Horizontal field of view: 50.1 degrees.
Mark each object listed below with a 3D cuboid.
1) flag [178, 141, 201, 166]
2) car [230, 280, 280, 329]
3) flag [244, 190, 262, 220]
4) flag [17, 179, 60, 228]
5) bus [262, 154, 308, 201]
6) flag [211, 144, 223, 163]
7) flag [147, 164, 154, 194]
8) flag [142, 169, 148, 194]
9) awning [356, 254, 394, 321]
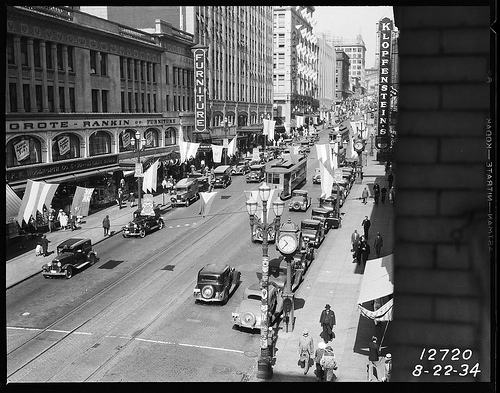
[{"bbox_3d":[-7.152,-4.981,61.709,3.131,3.541,0.475,2,-3,-21],"label":"flag"},{"bbox_3d":[0.113,5.050,25.448,1.635,1.429,3.681,9,9,3],"label":"car"},{"bbox_3d":[0.225,0.552,33.092,1.040,1.214,2.129,-2,-9,-1],"label":"flag"},{"bbox_3d":[-14.828,0.528,37.140,3.258,3.730,0.164,4,-1,-39],"label":"flag"},{"bbox_3d":[3.943,-2.480,57.150,2.112,3.288,10.046,-1,6,13],"label":"bus"},{"bbox_3d":[-3.969,-5.068,63.797,1.055,2.063,2.726,-3,9,-5],"label":"flag"},{"bbox_3d":[-8.398,-1.576,44.908,0.646,2.170,0.666,-7,10,-31],"label":"flag"},{"bbox_3d":[-8.820,-1.318,45.053,0.476,1.847,0.901,-5,9,-15],"label":"flag"},{"bbox_3d":[5.320,3.992,22.860,0.830,1.197,2.807,7,18,19],"label":"awning"}]
